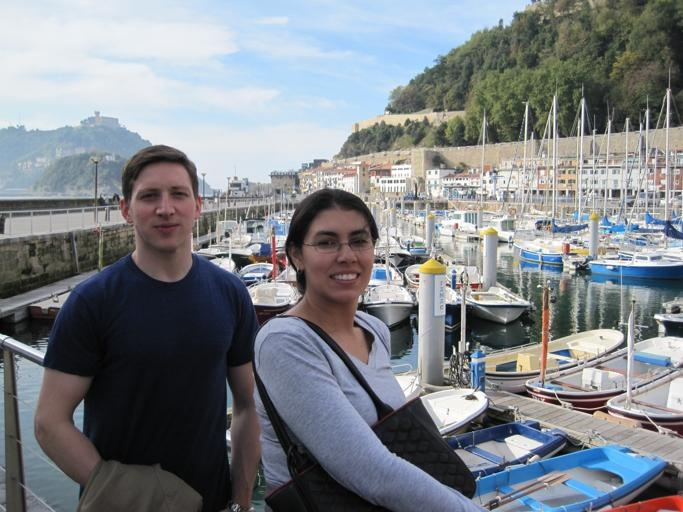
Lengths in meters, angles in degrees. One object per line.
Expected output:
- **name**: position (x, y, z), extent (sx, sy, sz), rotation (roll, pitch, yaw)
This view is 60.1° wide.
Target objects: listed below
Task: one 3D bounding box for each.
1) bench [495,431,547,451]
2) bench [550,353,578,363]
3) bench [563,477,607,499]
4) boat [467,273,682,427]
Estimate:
- **bench**: position (2.522, 2.635, 8.223), extent (0.502, 0.184, 0.452), rotation (4, -1, 32)
- **bench**: position (4.630, 2.212, 12.468), extent (0.620, 0.132, 0.578), rotation (4, -1, 36)
- **bench**: position (2.865, 2.758, 6.952), extent (0.110, 0.026, 0.317), rotation (-16, 17, -35)
- **boat**: position (5.471, 2.158, 14.010), extent (1.825, 1.422, 7.349), rotation (5, 4, 39)
